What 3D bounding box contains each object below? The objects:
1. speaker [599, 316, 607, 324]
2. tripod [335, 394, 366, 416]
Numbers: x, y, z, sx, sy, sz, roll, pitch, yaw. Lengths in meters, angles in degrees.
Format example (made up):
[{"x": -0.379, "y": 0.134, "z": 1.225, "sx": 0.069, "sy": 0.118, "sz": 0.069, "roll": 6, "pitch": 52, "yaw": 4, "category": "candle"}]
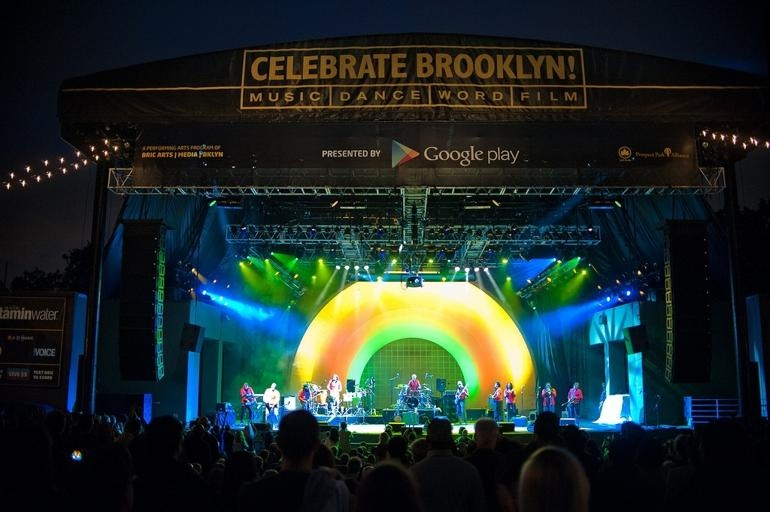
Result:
[{"x": 9.888, "y": 2.854, "z": 32.654, "sx": 0.126, "sy": 0.424, "sz": 0.450, "roll": 3, "pitch": -14, "yaw": -9, "category": "speaker"}, {"x": -1.532, "y": 6.874, "z": 33.152, "sx": 1.008, "sy": 1.033, "sz": 1.014, "roll": 0, "pitch": -12, "yaw": 8, "category": "tripod"}]
